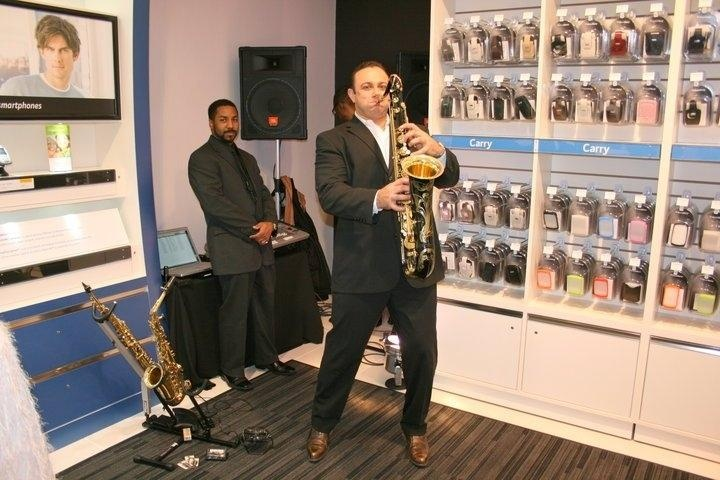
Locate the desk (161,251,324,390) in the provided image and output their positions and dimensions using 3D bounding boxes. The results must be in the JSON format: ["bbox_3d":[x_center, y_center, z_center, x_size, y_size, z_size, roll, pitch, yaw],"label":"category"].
[{"bbox_3d":[-1.045,0.697,4.124,0.955,0.626,0.291,-17,10,-34],"label":"desk"}]

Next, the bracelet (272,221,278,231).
[{"bbox_3d":[-0.742,-0.110,4.236,0.020,0.058,0.041,-5,7,11],"label":"bracelet"}]

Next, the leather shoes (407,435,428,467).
[{"bbox_3d":[0.379,1.388,3.214,0.083,0.098,0.222,0,5,-3],"label":"leather shoes"}]

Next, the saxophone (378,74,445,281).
[{"bbox_3d":[0.323,-0.333,2.868,0.304,1.230,0.474,-2,14,1],"label":"saxophone"}]

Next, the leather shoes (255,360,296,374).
[{"bbox_3d":[-0.745,1.092,4.326,0.341,0.158,0.138,0,5,16],"label":"leather shoes"}]

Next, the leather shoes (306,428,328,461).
[{"bbox_3d":[-0.289,1.375,3.252,0.084,0.103,0.239,1,0,0],"label":"leather shoes"}]

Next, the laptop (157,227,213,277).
[{"bbox_3d":[-1.558,0.130,4.240,0.409,0.278,0.436,12,18,40],"label":"laptop"}]

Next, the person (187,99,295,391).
[{"bbox_3d":[-0.986,0.014,4.120,0.675,2.305,0.704,-10,16,-28],"label":"person"}]
